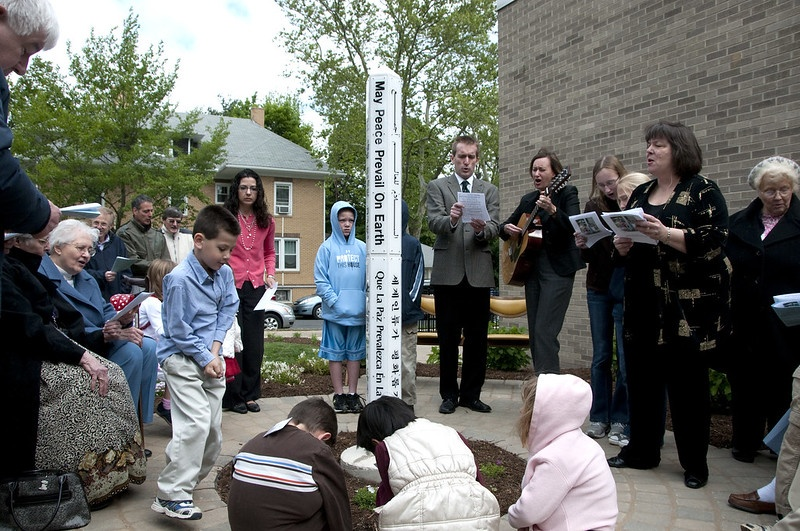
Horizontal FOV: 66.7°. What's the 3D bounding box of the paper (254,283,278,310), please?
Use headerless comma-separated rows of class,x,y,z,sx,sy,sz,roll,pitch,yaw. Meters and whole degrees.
paper,-1.721,0.395,7.466,0.375,0.118,0.269,-41,-21,18

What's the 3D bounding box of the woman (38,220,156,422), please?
woman,-2.972,0.617,5.953,1.260,1.934,0.764,9,12,-19

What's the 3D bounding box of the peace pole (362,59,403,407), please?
peace pole,-0.168,-0.275,5.876,0.354,3.147,0.344,1,-1,-1

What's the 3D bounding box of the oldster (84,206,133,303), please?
oldster,-3.914,-0.060,7.857,0.403,1.076,0.352,19,3,33

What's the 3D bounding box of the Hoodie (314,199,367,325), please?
Hoodie,-0.741,-0.042,7.536,0.655,1.546,0.361,1,-1,3

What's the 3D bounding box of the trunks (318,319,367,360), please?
trunks,-0.700,0.904,7.502,0.597,0.669,0.280,2,-3,-4

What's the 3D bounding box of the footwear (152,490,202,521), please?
footwear,-1.830,1.975,5.059,0.443,0.210,0.176,10,-18,22

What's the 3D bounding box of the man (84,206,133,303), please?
man,-3.859,-0.003,7.770,0.457,1.169,0.401,-1,-18,8

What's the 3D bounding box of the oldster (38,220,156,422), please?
oldster,-2.968,0.632,5.953,1.222,1.952,0.750,9,10,-3

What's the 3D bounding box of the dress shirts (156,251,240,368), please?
dress shirts,-1.795,0.417,5.455,0.624,0.977,0.749,13,10,21
